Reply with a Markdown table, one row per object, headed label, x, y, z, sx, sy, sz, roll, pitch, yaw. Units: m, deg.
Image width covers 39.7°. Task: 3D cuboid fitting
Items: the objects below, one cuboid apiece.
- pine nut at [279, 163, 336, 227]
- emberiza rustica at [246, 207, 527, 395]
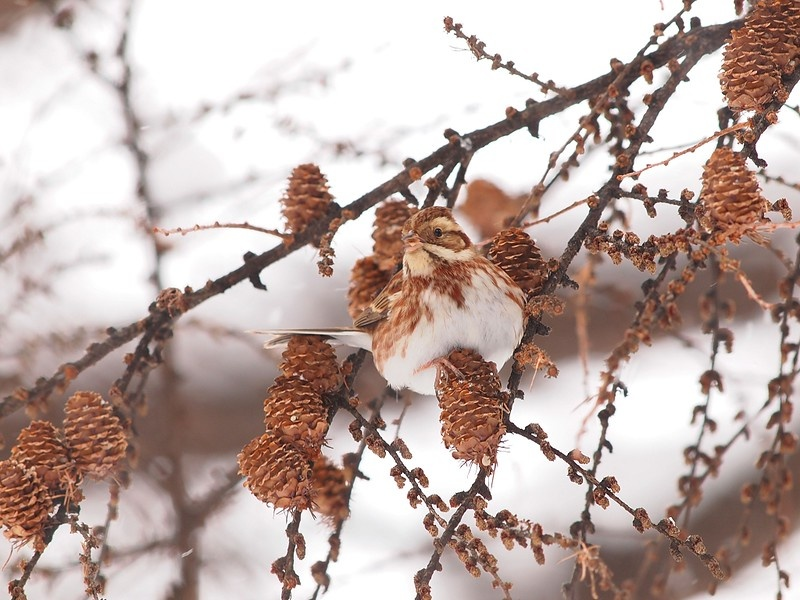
| label | x | y | z | sx | sy | sz | roll | pitch | yaw |
| --- | --- | --- | --- | --- | --- | --- | --- | --- | --- |
| pine nut | -0.423 | -0.453 | 4.983 | 0.219 | 0.196 | 0.297 | -4 | -87 | -42 |
| emberiza rustica | 0.282 | -0.059 | 5.477 | 0.727 | 1.228 | 0.857 | -20 | -86 | 14 |
